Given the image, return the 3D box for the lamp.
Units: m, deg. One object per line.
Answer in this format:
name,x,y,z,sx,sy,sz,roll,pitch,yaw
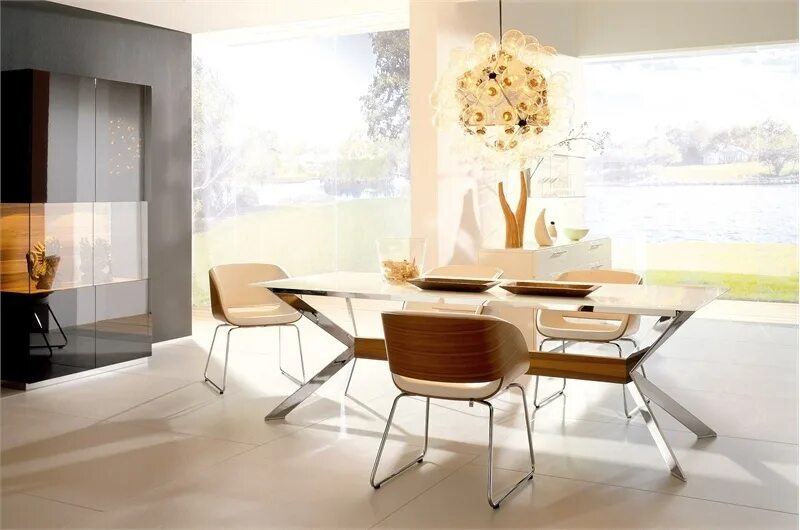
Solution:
lamp,0.699,-1.185,3.638,0.983,0.970,0.500,1,9,12
